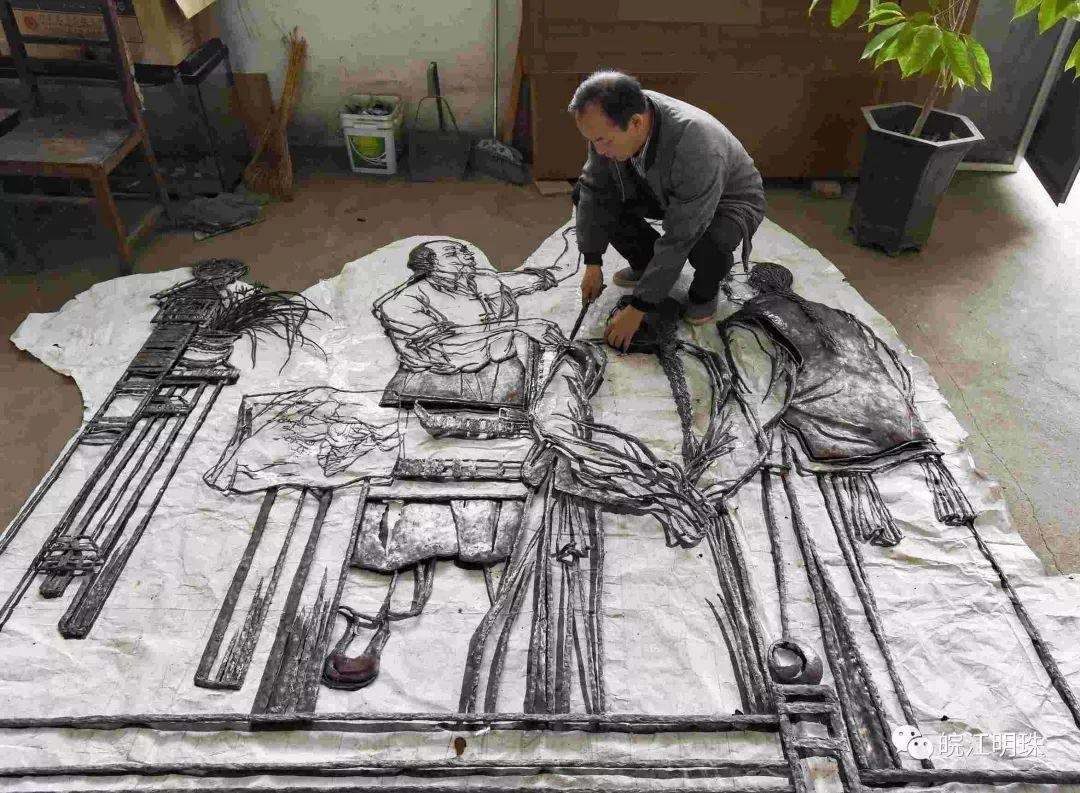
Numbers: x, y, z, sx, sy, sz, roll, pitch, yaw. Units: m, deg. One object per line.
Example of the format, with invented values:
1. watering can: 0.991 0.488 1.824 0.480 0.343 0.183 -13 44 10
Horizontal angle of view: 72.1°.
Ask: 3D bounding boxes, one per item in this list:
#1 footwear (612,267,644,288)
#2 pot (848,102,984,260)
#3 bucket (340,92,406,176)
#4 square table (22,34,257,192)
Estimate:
1. footwear: 0.527 -0.730 4.584 0.251 0.107 0.095 -7 52 -6
2. pot: 2.398 -1.372 4.773 0.756 0.824 0.842 13 45 9
3. bucket: -1.216 -1.943 5.493 0.420 0.446 0.477 -5 44 -7
4. square table: -2.685 -2.107 5.283 1.760 0.782 0.954 1 61 -7
